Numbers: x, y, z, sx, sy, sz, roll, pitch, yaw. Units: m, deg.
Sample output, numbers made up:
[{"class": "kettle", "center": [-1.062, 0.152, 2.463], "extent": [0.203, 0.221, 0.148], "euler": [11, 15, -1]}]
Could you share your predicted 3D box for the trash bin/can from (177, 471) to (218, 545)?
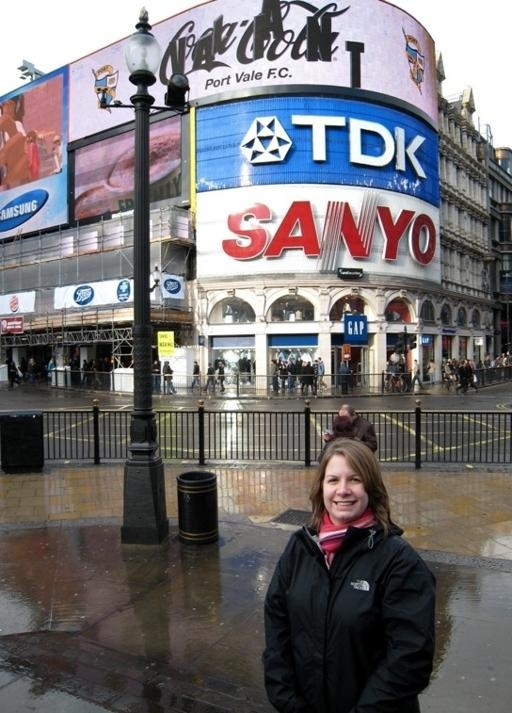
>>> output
[{"class": "trash bin/can", "center": [-0.560, 1.470, 7.005], "extent": [0.411, 0.643, 0.407], "euler": [-1, 5, 18]}]

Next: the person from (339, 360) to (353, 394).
[{"class": "person", "center": [4.046, 0.934, 31.955], "extent": [0.481, 1.241, 1.702], "euler": [1, 0, 7]}]
